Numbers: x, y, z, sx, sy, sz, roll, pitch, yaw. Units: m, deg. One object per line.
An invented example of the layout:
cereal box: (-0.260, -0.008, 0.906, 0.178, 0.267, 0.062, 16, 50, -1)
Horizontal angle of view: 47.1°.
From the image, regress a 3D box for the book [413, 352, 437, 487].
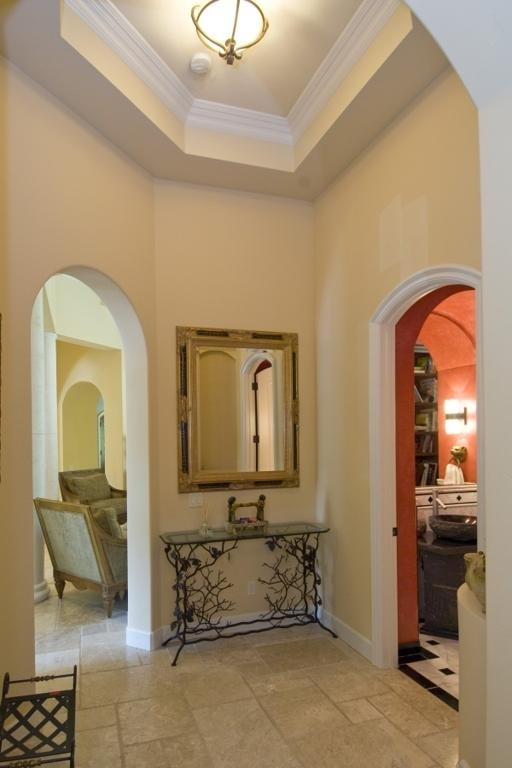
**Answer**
book: (1.768, 0.294, 6.111, 0.235, 1.453, 0.446, -2, -2, 17)

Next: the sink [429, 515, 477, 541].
sink: (1.437, 1.056, 4.303, 0.320, 0.159, 0.493, -3, -3, 19)

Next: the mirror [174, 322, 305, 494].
mirror: (-0.164, 0.195, 4.364, 1.188, 1.572, 0.104, 1, -2, -24)
